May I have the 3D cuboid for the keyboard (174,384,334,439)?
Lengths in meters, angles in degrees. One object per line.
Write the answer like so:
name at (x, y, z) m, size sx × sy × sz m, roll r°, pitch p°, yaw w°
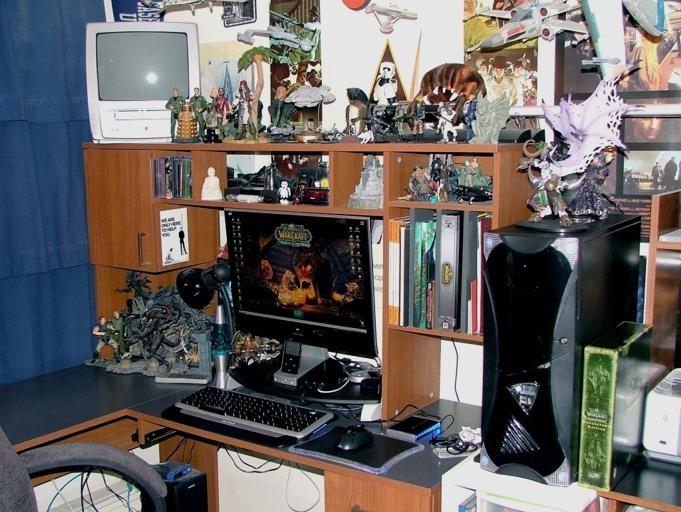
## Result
keyboard at (-0.332, 0.570, 2.062) m, size 0.589 × 0.065 × 0.196 m, roll 2°, pitch 8°, yaw 24°

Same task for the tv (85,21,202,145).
tv at (-0.892, -0.799, 2.531) m, size 0.602 × 0.655 × 0.093 m, roll 0°, pitch 4°, yaw 2°

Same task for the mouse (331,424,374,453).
mouse at (0.053, 0.605, 1.871) m, size 0.145 × 0.052 × 0.076 m, roll -7°, pitch 9°, yaw -37°

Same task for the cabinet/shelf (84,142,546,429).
cabinet/shelf at (-0.080, 0.122, 2.124) m, size 1.201 × 0.694 × 0.222 m, roll 6°, pitch 9°, yaw 31°

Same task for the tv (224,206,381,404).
tv at (-0.135, 0.183, 2.228) m, size 0.695 × 0.616 × 0.334 m, roll 7°, pitch 12°, yaw 30°
